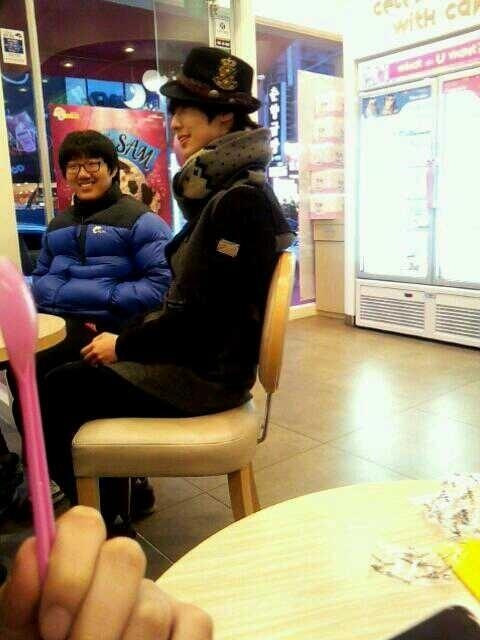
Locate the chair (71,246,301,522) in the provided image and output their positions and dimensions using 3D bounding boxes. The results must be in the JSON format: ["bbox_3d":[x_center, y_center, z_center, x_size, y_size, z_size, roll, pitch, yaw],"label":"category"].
[{"bbox_3d":[-0.137,0.203,1.393,0.562,0.809,0.473,3,9,1],"label":"chair"}]

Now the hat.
[{"bbox_3d":[-0.081,-0.675,1.402,0.227,0.125,0.194,-1,43,-18],"label":"hat"}]
